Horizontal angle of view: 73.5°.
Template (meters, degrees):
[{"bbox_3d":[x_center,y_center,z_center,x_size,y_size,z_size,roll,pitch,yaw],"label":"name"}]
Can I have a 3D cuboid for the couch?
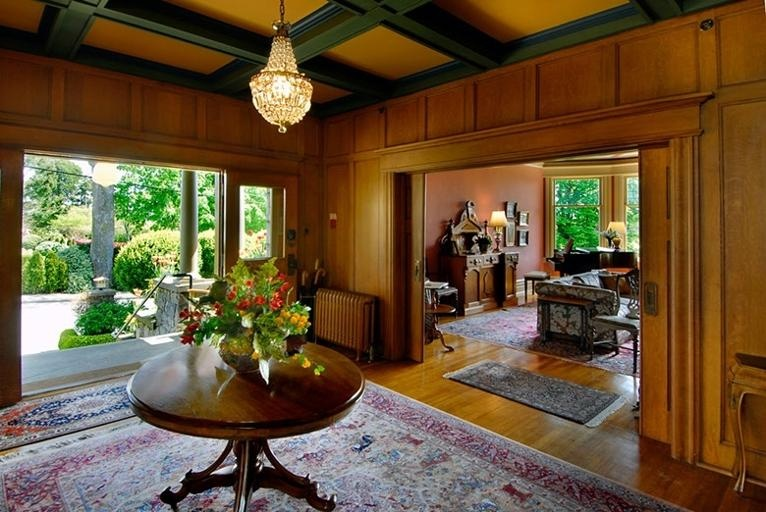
[{"bbox_3d":[3.001,0.415,7.805,0.840,0.964,2.445,0,2,38],"label":"couch"}]

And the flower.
[{"bbox_3d":[-1.105,0.542,4.346,1.164,0.821,1.050,10,2,-45],"label":"flower"}]

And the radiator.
[{"bbox_3d":[-0.475,0.915,7.019,0.311,0.841,1.044,-2,6,-40],"label":"radiator"}]

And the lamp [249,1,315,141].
[{"bbox_3d":[-0.931,-1.758,4.649,0.538,1.179,0.285,-1,10,-5],"label":"lamp"}]

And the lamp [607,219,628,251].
[{"bbox_3d":[5.513,-0.464,11.986,0.370,0.691,1.564,5,11,27],"label":"lamp"}]

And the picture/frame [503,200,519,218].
[{"bbox_3d":[2.912,-1.107,11.722,0.067,0.297,0.508,-1,-1,32],"label":"picture/frame"}]

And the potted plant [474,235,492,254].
[{"bbox_3d":[2.055,-0.274,10.440,0.309,0.388,0.203,0,6,31],"label":"potted plant"}]

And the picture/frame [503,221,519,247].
[{"bbox_3d":[2.925,-0.543,11.776,0.092,0.676,0.598,-2,-2,44],"label":"picture/frame"}]

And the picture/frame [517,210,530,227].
[{"bbox_3d":[3.341,-0.931,12.204,0.056,0.304,0.417,2,3,37],"label":"picture/frame"}]

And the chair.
[{"bbox_3d":[3.539,0.741,7.679,0.593,1.290,2.562,5,11,25],"label":"chair"}]

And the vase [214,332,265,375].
[{"bbox_3d":[-1.242,0.833,4.401,0.376,0.271,0.362,2,-1,39],"label":"vase"}]

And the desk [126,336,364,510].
[{"bbox_3d":[-0.999,1.597,4.652,1.667,1.023,1.647,5,12,13],"label":"desk"}]
